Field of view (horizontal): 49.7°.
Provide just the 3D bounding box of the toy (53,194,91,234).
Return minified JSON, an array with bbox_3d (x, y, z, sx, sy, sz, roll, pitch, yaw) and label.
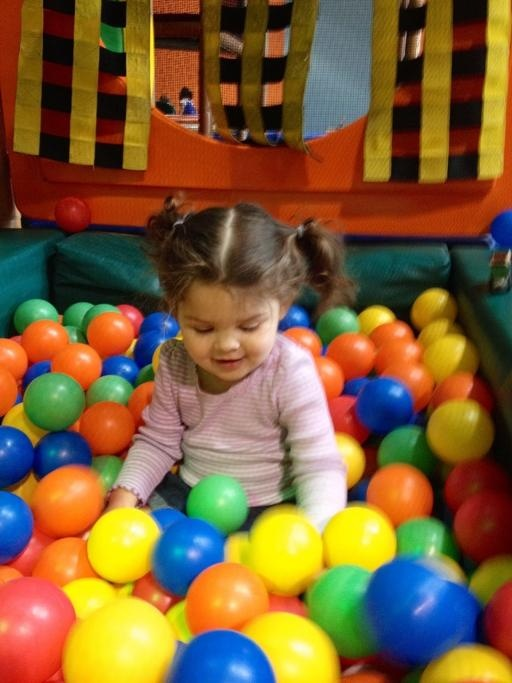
[{"bbox_3d":[-0.837,-0.571,2.519,0.129,0.162,0.132,5,14,9],"label":"toy"}]
